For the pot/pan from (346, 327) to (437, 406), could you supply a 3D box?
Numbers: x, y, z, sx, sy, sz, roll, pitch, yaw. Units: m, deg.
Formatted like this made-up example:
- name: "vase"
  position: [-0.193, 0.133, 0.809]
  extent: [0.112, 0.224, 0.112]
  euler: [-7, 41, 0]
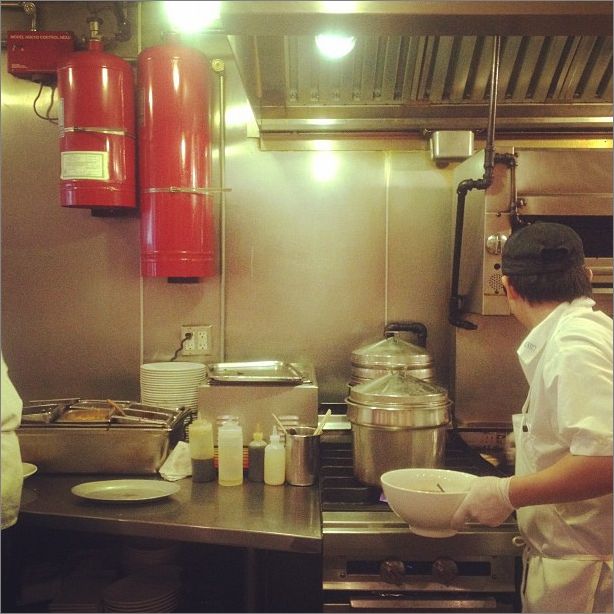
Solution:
- name: "pot/pan"
  position: [0.334, 0.240, 2.960]
  extent: [0.303, 0.244, 0.276]
  euler: [-1, 2, -6]

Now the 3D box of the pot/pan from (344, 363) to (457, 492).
- name: "pot/pan"
  position: [0.291, 0.378, 2.386]
  extent: [0.382, 0.327, 0.354]
  euler: [-1, 4, 4]

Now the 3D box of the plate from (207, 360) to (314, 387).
- name: "plate"
  position: [-0.183, 0.251, 2.823]
  extent: [0.392, 0.066, 0.250]
  euler: [0, 3, -2]

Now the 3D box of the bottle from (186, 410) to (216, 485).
- name: "bottle"
  position: [-0.370, 0.494, 2.593]
  extent: [0.090, 0.218, 0.155]
  euler: [-1, 4, -9]

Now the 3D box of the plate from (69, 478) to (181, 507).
- name: "plate"
  position: [-0.594, 0.604, 2.429]
  extent: [0.348, 0.036, 0.227]
  euler: [0, 3, 0]

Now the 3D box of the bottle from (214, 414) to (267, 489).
- name: "bottle"
  position: [-0.246, 0.492, 2.582]
  extent: [0.170, 0.228, 0.177]
  euler: [0, 3, 0]

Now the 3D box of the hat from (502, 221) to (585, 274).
- name: "hat"
  position: [0.628, -0.151, 1.967]
  extent: [0.208, 0.144, 0.110]
  euler: [1, 4, 14]

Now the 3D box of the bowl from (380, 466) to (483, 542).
- name: "bowl"
  position: [0.360, 0.536, 2.118]
  extent: [0.260, 0.115, 0.236]
  euler: [7, -8, -30]

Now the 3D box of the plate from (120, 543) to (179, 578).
- name: "plate"
  position: [-0.555, 0.881, 2.605]
  extent: [0.149, 0.093, 0.135]
  euler: [1, -3, -24]

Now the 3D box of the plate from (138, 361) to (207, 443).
- name: "plate"
  position: [-0.546, 0.334, 3.021]
  extent: [0.250, 0.156, 0.229]
  euler: [1, 1, -5]
